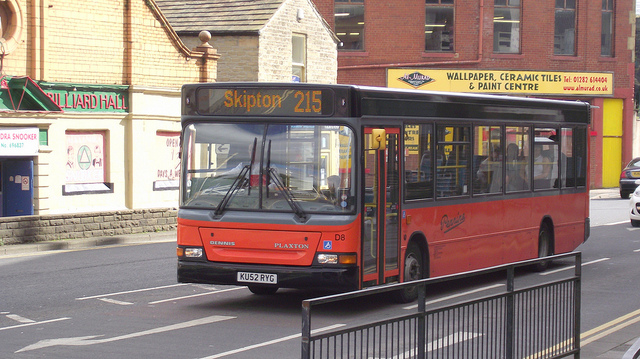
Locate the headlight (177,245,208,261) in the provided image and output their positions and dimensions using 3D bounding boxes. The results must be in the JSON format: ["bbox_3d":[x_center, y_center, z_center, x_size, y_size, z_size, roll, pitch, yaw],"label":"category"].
[{"bbox_3d":[-3.020,1.719,19.256,0.823,0.343,0.116,4,10,22],"label":"headlight"}]

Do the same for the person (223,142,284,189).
[{"bbox_3d":[-1.507,-0.323,18.993,1.393,1.036,0.265,4,10,23],"label":"person"}]

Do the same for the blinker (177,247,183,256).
[{"bbox_3d":[-3.325,1.715,19.381,0.231,0.226,0.142,-4,-8,41],"label":"blinker"}]
